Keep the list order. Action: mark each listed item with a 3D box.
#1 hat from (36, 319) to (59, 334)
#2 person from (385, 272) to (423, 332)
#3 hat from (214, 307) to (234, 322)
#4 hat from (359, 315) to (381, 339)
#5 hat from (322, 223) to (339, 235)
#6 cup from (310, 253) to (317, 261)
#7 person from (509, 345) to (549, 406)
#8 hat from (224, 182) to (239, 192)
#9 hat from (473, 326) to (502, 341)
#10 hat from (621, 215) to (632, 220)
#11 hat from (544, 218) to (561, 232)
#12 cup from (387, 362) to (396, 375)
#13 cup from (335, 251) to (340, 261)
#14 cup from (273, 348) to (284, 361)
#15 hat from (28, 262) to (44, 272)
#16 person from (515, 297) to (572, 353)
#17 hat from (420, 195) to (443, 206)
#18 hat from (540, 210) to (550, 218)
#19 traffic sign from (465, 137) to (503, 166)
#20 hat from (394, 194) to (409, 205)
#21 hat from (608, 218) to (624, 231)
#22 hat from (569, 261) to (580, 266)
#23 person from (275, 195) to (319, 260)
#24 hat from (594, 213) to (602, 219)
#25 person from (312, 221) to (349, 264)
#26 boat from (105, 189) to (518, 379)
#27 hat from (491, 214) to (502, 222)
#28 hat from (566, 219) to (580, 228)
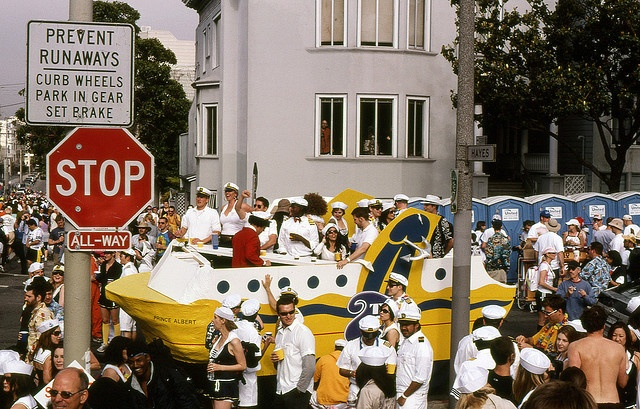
[{"bbox_3d":[-5.924,2.669,25.537,0.667,0.280,0.350,-1,0,44],"label":"hat"},{"bbox_3d":[1.839,2.105,25.664,0.978,1.638,0.834,0,-10,0],"label":"person"},{"bbox_3d":[-2.026,2.313,24.803,0.253,0.120,0.343,16,-7,45],"label":"hat"},{"bbox_3d":[1.057,2.548,24.592,0.411,0.402,0.256,-1,0,2],"label":"hat"},{"bbox_3d":[0.267,0.602,28.333,0.274,0.161,0.341,-8,-1,-7],"label":"hat"},{"bbox_3d":[-0.138,1.259,27.527,0.140,0.140,0.135,1,-5,0],"label":"cup"},{"bbox_3d":[4.181,3.454,23.337,0.797,1.064,0.450,19,-32,15],"label":"person"},{"bbox_3d":[-2.155,-0.462,28.932,0.322,0.165,0.414,-1,-4,33],"label":"hat"},{"bbox_3d":[3.465,2.679,24.199,0.566,0.285,0.546,-1,0,5],"label":"hat"},{"bbox_3d":[9.035,0.397,34.312,0.283,0.136,0.196,6,2,9],"label":"hat"},{"bbox_3d":[6.640,0.593,33.325,0.381,0.365,0.135,26,-29,29],"label":"hat"},{"bbox_3d":[1.534,3.458,24.735,0.278,0.226,0.219,-1,2,1],"label":"cup"},{"bbox_3d":[0.432,1.237,27.344,0.156,0.154,0.149,1,-4,0],"label":"cup"},{"bbox_3d":[-0.896,3.267,25.480,0.231,0.255,0.152,-1,0,6],"label":"cup"},{"bbox_3d":[-7.116,1.514,29.176,0.319,0.297,0.425,0,-10,-42],"label":"hat"},{"bbox_3d":[5.258,2.792,26.987,1.334,1.288,0.903,-2,-10,33],"label":"person"},{"bbox_3d":[2.942,-0.093,30.244,0.485,0.176,0.503,1,0,31],"label":"hat"},{"bbox_3d":[6.588,0.291,33.788,0.304,0.152,0.209,-2,13,-20],"label":"hat"},{"bbox_3d":[3.695,-1.253,26.563,0.726,0.574,0.269,1,5,26],"label":"traffic sign"},{"bbox_3d":[2.105,-0.126,30.319,0.290,0.112,0.251,12,0,14],"label":"hat"},{"bbox_3d":[8.427,0.596,33.140,0.321,0.166,0.292,29,11,22],"label":"hat"},{"bbox_3d":[6.324,1.460,29.026,0.275,0.154,0.307,-1,0,11],"label":"hat"},{"bbox_3d":[-0.548,0.724,28.362,1.129,1.641,0.964,8,6,26],"label":"person"},{"bbox_3d":[8.594,0.359,36.030,0.311,0.138,0.478,-4,-5,31],"label":"hat"},{"bbox_3d":[0.268,0.950,28.303,0.918,1.584,0.596,-1,-10,-2],"label":"person"},{"bbox_3d":[1.219,1.830,28.613,7.864,2.816,3.852,-2,10,21],"label":"boat"},{"bbox_3d":[5.540,0.480,36.472,0.355,0.327,0.094,2,-2,12],"label":"hat"},{"bbox_3d":[7.470,0.556,33.866,0.411,0.195,0.268,4,-2,-18],"label":"hat"}]
